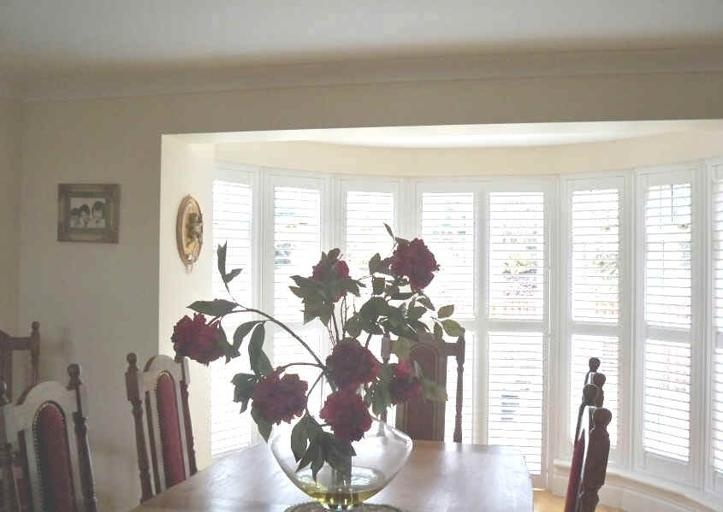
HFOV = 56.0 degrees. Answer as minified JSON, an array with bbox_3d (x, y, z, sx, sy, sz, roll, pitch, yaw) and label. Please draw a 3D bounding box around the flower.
[{"bbox_3d":[-0.156,0.298,2.711,0.975,1.215,0.932,-8,12,-33],"label":"flower"}]
